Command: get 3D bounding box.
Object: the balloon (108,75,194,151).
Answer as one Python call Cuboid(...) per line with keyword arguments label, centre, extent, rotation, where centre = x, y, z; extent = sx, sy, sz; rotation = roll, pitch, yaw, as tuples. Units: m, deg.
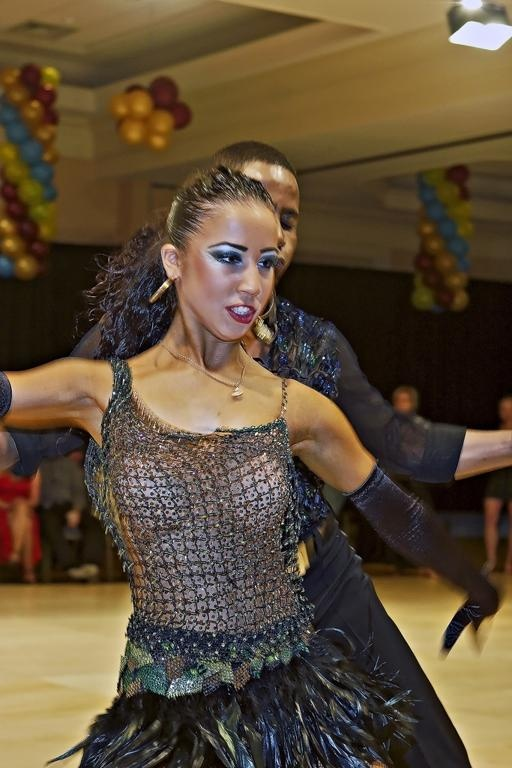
Cuboid(label="balloon", centre=(-0.504, -1.225, 3.295), extent=(0.380, 0.334, 0.284), rotation=(-18, 13, -17))
